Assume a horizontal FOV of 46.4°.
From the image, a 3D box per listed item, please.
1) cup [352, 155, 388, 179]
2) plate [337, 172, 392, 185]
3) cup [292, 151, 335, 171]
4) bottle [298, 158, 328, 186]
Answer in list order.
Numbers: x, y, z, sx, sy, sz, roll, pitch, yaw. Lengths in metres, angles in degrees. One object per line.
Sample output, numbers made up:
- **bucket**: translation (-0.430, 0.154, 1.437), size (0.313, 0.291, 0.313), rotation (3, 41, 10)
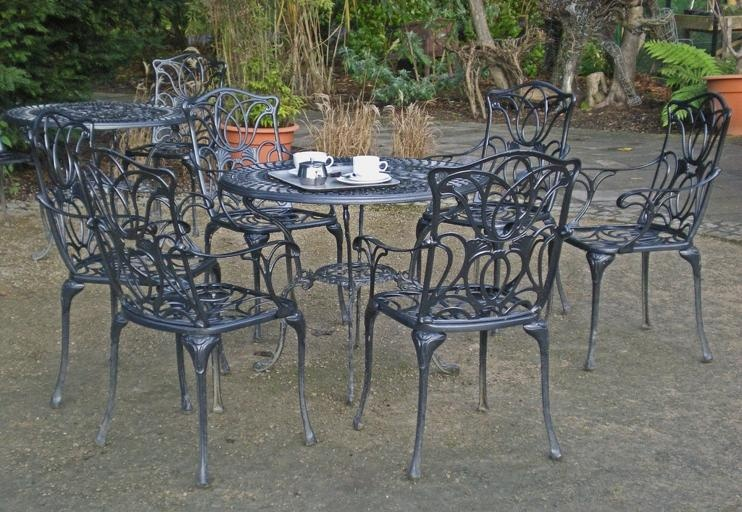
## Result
- **cup**: translation (0.023, -0.486, 4.762), size (0.223, 0.105, 0.148), rotation (1, 5, -16)
- **plate**: translation (-0.034, -0.416, 4.674), size (0.301, 0.044, 0.166), rotation (-2, 18, 0)
- **cup**: translation (-0.330, -0.522, 4.823), size (0.292, 0.120, 0.311), rotation (0, 4, 0)
- **bottle**: translation (-0.311, -0.438, 4.628), size (0.167, 0.088, 0.121), rotation (-2, 4, -42)
